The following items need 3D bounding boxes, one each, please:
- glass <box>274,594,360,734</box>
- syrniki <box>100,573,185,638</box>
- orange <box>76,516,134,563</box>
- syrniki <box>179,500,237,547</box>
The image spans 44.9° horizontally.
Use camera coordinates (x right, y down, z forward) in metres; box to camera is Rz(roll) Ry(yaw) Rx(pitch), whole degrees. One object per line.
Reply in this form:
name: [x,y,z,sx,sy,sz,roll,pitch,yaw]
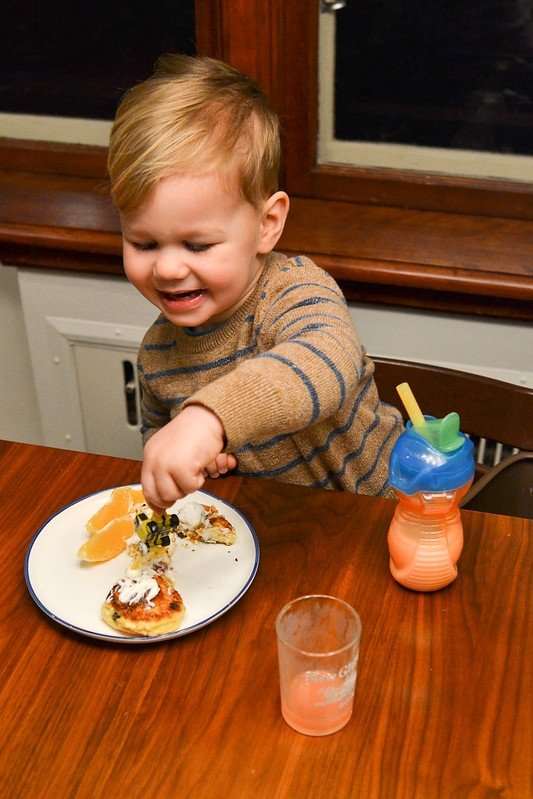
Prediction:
glass: [0.039,0.205,0.483,0.057,0.083,0.053,9,18,22]
syrniki: [-0.108,0.176,0.564,0.068,0.022,0.074,12,19,3]
orange: [-0.163,0.144,0.660,0.031,0.019,0.060,37,33,5]
syrniki: [-0.063,0.129,0.667,0.052,0.020,0.041,8,38,-4]
